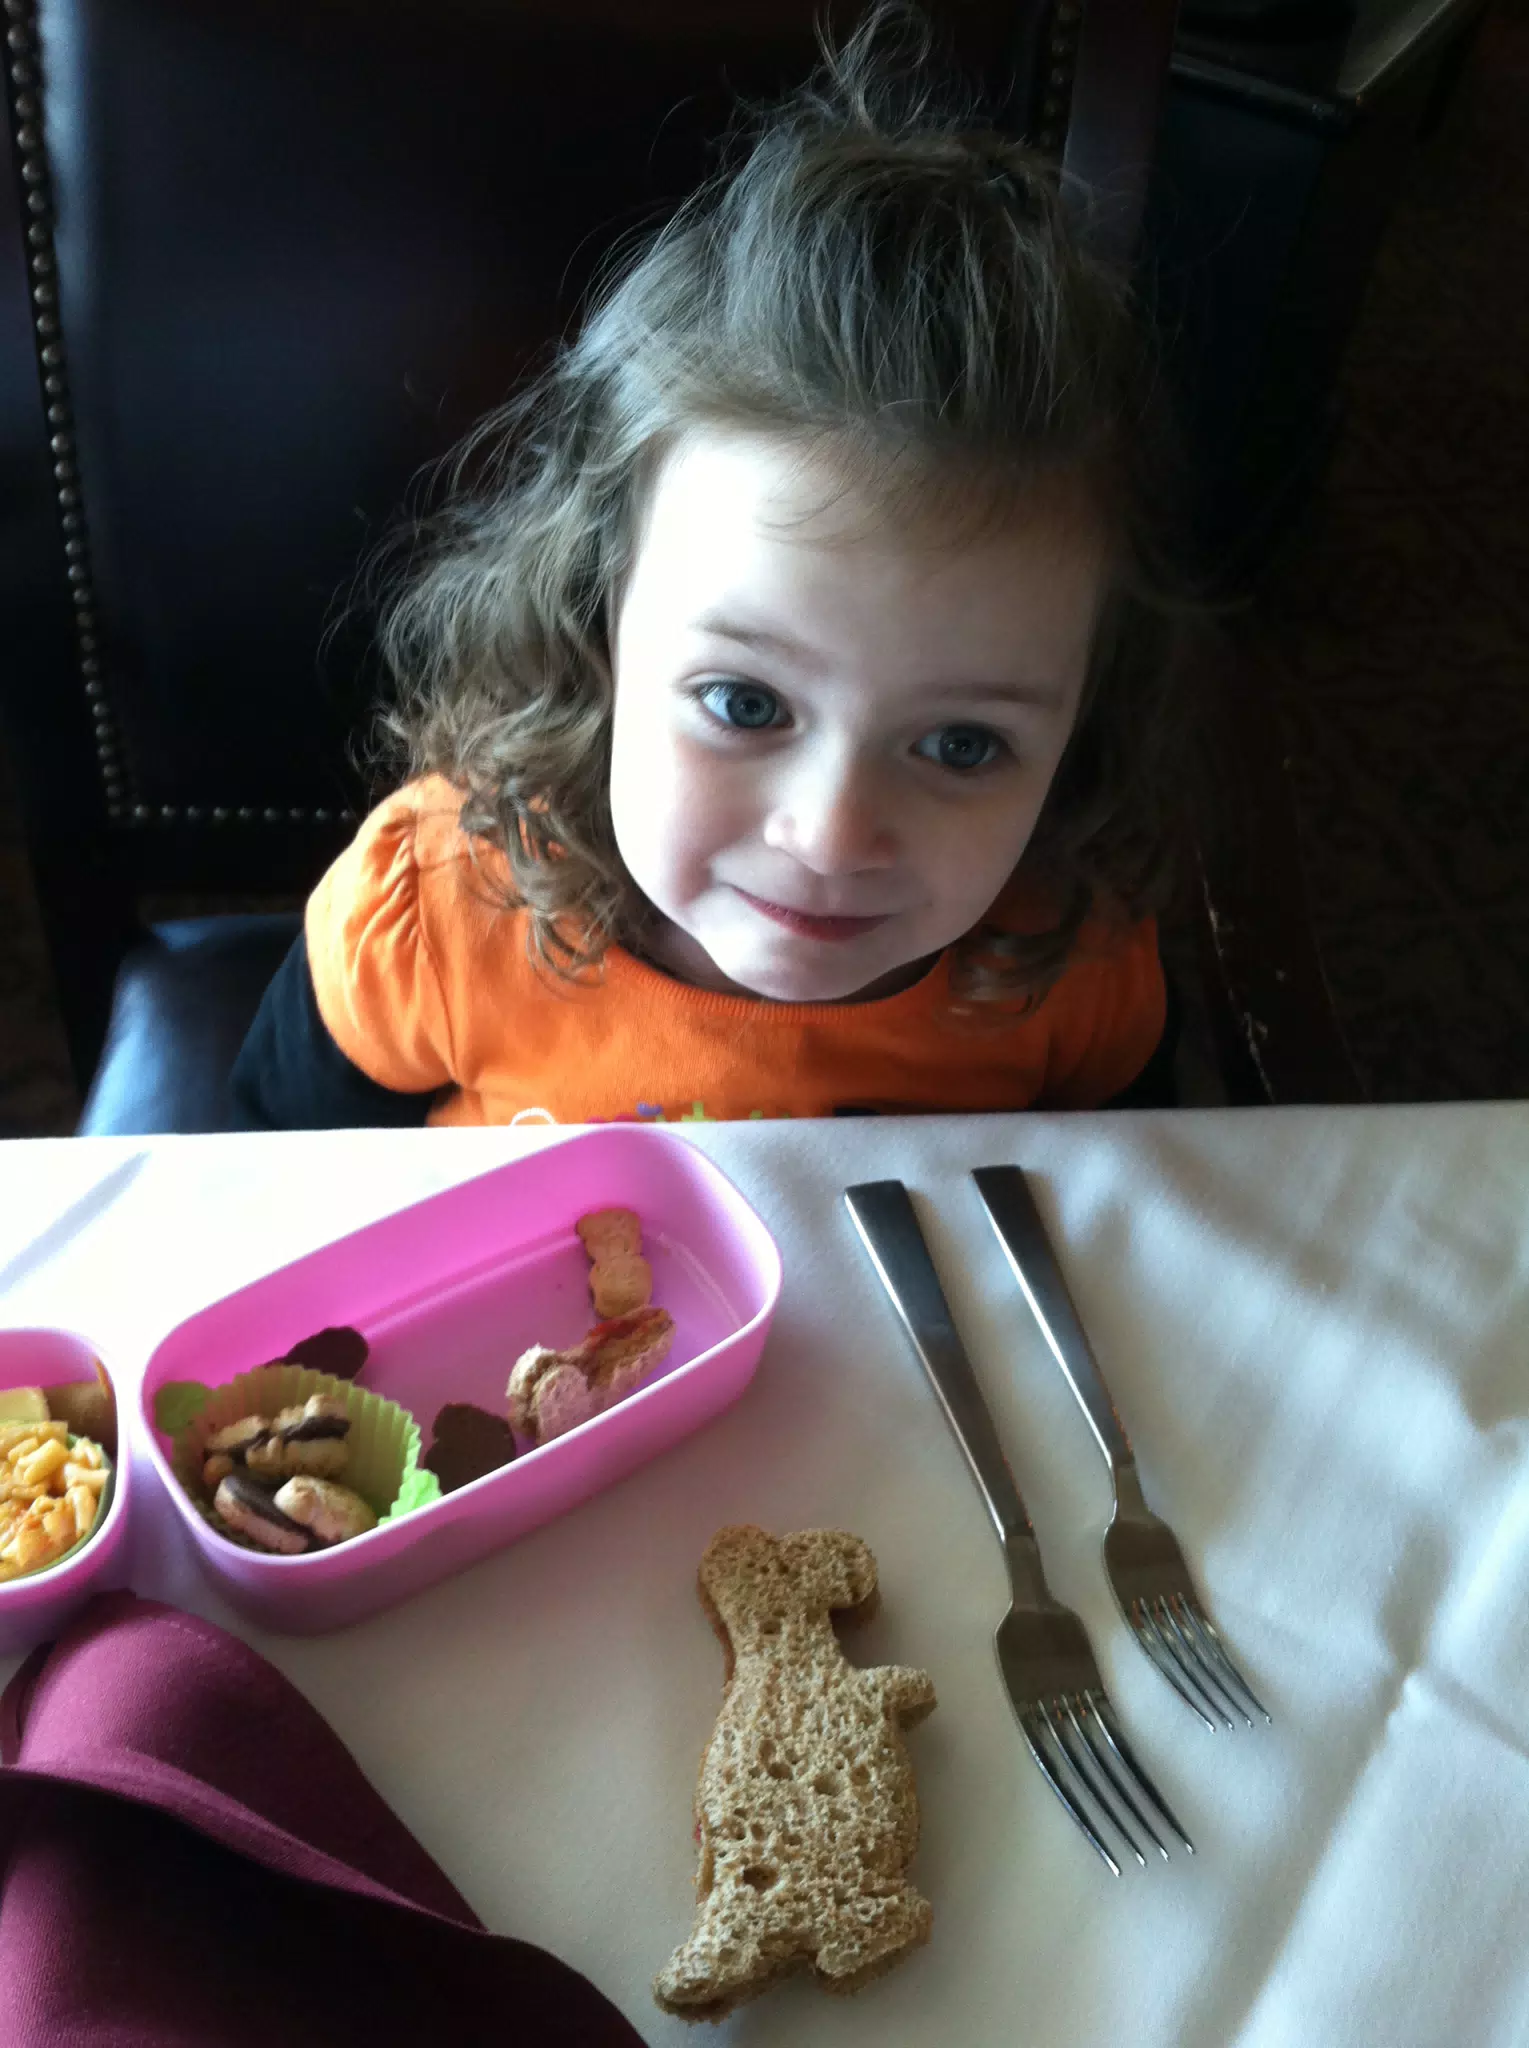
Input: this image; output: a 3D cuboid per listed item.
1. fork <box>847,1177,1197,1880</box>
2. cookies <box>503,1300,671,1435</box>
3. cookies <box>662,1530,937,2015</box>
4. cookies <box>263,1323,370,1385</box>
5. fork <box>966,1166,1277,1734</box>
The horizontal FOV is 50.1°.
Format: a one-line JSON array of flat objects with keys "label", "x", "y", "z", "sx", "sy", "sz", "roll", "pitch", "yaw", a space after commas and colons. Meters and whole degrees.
[{"label": "fork", "x": 0.078, "y": 0.135, "z": 0.594, "sx": 0.035, "sy": 0.035, "sz": 0.317, "roll": -6, "pitch": 45, "yaw": -9}, {"label": "cookies", "x": -0.059, "y": 0.114, "z": 0.547, "sx": 0.052, "sy": 0.012, "sz": 0.030, "roll": -32, "pitch": 91, "yaw": -48}, {"label": "cookies", "x": 0.011, "y": 0.201, "z": 0.437, "sx": 0.057, "sy": 0.013, "sz": 0.145, "roll": 2, "pitch": 32, "yaw": 0}, {"label": "cookies", "x": -0.146, "y": 0.111, "z": 0.550, "sx": 0.023, "sy": 0.006, "sz": 0.016, "roll": 1, "pitch": 51, "yaw": -31}, {"label": "fork", "x": 0.113, "y": 0.129, "z": 0.598, "sx": 0.030, "sy": 0.027, "sz": 0.243, "roll": -7, "pitch": 47, "yaw": -15}]
